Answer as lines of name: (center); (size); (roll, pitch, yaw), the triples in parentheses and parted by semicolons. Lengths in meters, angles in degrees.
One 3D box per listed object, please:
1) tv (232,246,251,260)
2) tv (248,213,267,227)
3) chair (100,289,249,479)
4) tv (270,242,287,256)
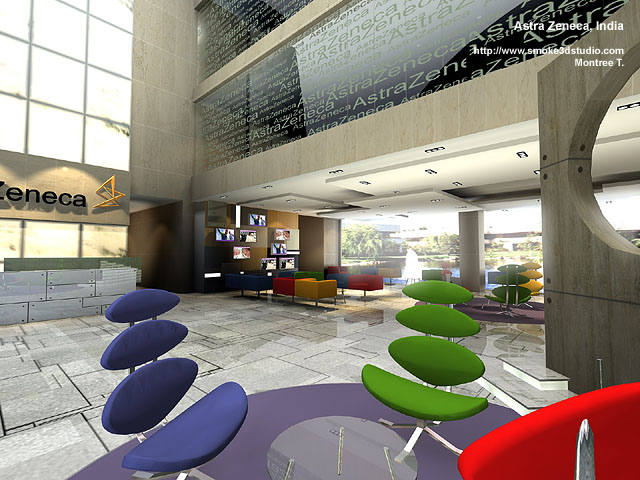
tv: (-2.646, 0.395, 12.148); (0.525, 0.302, 0.050); (3, -3, -38)
tv: (-2.159, -0.701, 12.666); (0.119, 0.321, 0.675); (1, -1, 35)
chair: (-1.061, 1.006, 2.619); (0.866, 1.036, 1.291); (2, -1, -29)
tv: (-1.511, 0.278, 13.269); (0.113, 0.282, 0.773); (1, -1, 38)
